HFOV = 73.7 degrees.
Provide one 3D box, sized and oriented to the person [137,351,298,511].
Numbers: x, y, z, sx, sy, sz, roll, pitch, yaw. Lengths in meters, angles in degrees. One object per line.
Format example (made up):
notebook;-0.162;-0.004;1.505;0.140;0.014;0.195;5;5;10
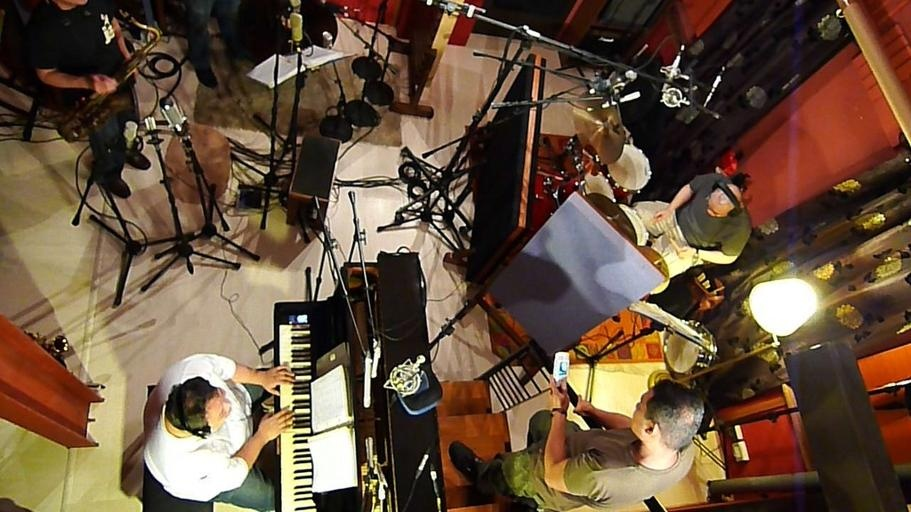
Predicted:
person;-2.679;2.079;6.965;1.146;1.192;1.949;-10;3;-26

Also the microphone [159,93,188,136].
microphone;-3.118;-1.525;6.718;0.248;0.374;0.253;13;17;-6

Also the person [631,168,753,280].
person;3.492;-0.401;8.842;0.847;0.894;1.461;-27;5;-28

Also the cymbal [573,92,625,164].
cymbal;1.948;-1.674;8.309;0.677;0.810;0.817;26;20;31

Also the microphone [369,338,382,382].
microphone;-0.843;1.116;6.602;0.106;0.508;0.140;6;-12;-26

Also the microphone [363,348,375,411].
microphone;-0.949;1.357;6.621;0.154;0.631;0.159;2;12;6

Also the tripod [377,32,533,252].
tripod;-0.088;-1.599;9.209;1.702;1.456;2.971;24;-37;-18

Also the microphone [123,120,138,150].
microphone;-3.798;-1.416;7.091;0.132;0.131;0.536;19;-25;-26

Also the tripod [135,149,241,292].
tripod;-3.760;-0.413;8.423;1.507;1.130;1.785;-15;-20;-22

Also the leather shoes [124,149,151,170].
leather shoes;-4.439;-1.320;8.471;0.159;0.165;0.388;8;-22;48

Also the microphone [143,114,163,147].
microphone;-3.408;-1.392;6.849;0.153;0.292;0.205;9;18;-19

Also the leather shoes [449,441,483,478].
leather shoes;0.115;2.644;7.866;0.368;0.125;0.250;48;-9;-12
